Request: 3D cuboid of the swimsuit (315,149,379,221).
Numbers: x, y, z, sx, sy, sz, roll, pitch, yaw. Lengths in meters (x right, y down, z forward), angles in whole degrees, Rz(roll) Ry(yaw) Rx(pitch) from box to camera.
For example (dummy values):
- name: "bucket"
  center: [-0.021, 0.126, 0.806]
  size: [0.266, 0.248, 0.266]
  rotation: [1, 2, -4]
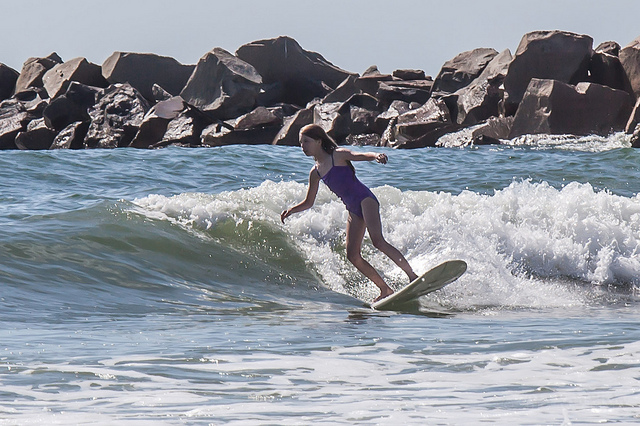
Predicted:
- name: "swimsuit"
  center: [0.513, -0.532, 21.587]
  size: [1.098, 1.489, 0.322]
  rotation: [-9, -7, -2]
